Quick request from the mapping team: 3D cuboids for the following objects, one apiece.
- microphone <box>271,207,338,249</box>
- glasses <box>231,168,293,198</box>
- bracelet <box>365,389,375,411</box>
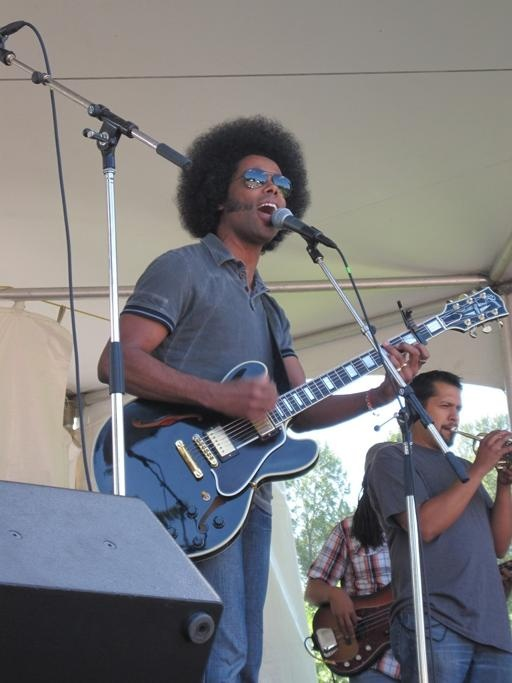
[{"bbox_3d":[0.138,-0.324,2.319,0.089,0.078,0.318,33,-2,-39],"label":"microphone"},{"bbox_3d":[0.030,-0.581,2.896,0.218,0.090,0.230,6,9,37],"label":"glasses"},{"bbox_3d":[0.401,0.221,2.744,0.018,0.059,0.047,0,9,-13],"label":"bracelet"}]
